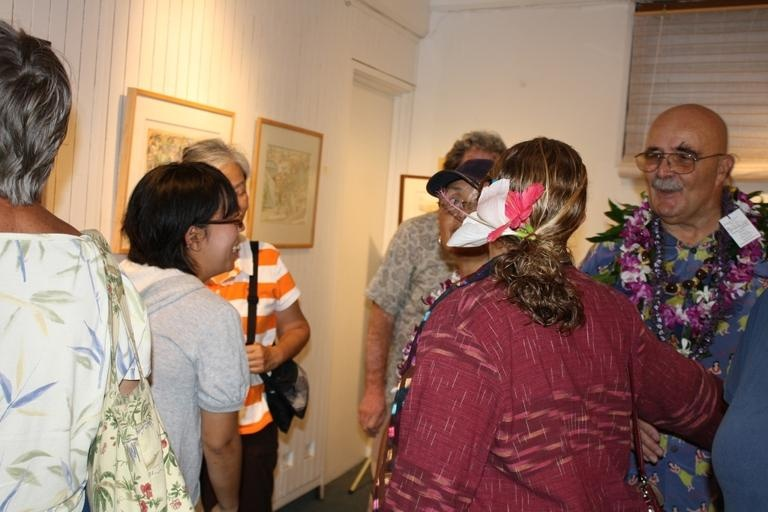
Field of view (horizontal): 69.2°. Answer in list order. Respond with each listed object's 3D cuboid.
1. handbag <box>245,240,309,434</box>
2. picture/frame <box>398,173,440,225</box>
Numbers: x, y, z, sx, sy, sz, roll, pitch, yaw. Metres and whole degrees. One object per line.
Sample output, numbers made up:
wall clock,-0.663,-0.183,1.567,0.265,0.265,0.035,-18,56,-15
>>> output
handbag,-0.501,0.360,2.494,0.338,0.821,0.262,4,6,10
picture/frame,0.251,-0.425,4.459,0.381,0.432,0.013,-3,8,-37
